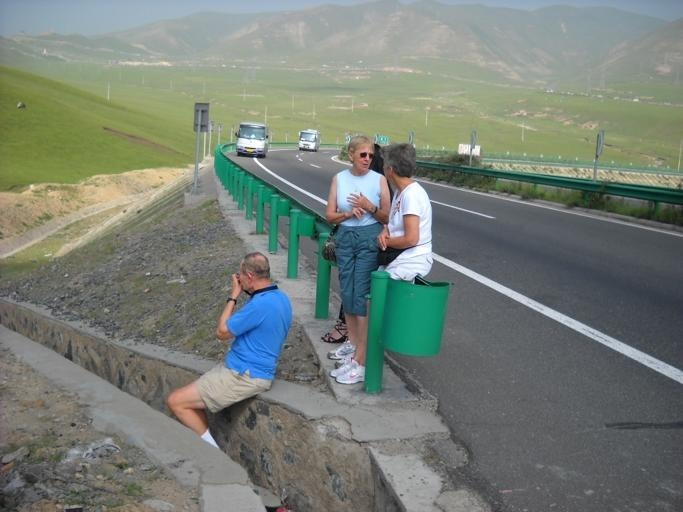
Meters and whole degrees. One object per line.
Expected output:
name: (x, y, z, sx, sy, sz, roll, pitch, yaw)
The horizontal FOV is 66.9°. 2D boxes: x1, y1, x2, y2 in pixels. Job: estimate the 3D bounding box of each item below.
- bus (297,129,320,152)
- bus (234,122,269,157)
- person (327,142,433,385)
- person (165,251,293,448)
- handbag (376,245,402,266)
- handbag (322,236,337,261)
bus: (-4.039, -14.589, 65.863, 1.787, 1.923, 3.524, 3, 9, 5)
bus: (-7.778, -10.161, 45.329, 1.850, 2.075, 3.569, 1, 8, -1)
person: (0.414, 0.083, 5.132, 0.946, 2.319, 0.762, 3, 12, 29)
person: (-1.131, 0.997, 5.426, 1.219, 1.990, 0.472, -3, 11, 4)
handbag: (0.463, -0.019, 5.121, 0.171, 0.075, 0.177, -7, 7, 33)
handbag: (-0.141, -0.085, 6.062, 0.152, 0.339, 0.301, 1, 3, -18)
